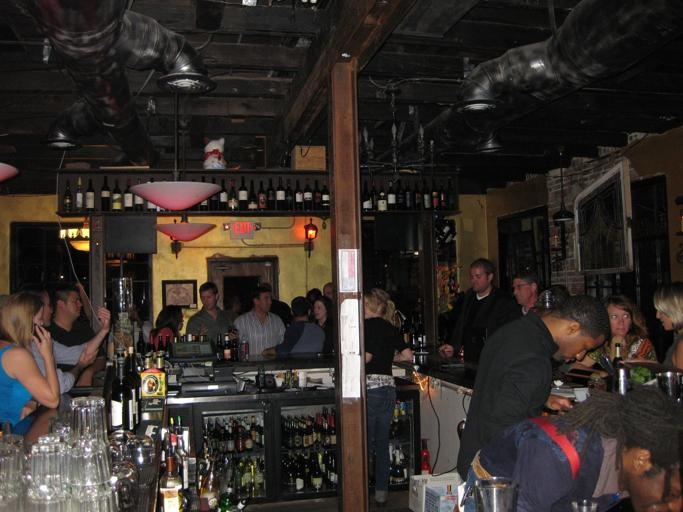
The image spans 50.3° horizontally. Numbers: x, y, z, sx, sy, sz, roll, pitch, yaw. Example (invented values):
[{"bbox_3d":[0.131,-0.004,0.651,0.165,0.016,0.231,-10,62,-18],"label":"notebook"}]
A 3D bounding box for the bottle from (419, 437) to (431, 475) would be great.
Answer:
[{"bbox_3d":[0.791,1.871,6.800,0.106,0.289,0.253,-2,-5,6],"label":"bottle"}]

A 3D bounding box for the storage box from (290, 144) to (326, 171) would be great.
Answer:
[{"bbox_3d":[-0.376,-1.168,8.691,0.361,0.236,0.367,0,-3,-6],"label":"storage box"}]

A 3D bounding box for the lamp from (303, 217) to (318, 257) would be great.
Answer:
[{"bbox_3d":[-0.452,-0.290,10.973,0.231,0.571,0.648,-1,-5,-2],"label":"lamp"}]

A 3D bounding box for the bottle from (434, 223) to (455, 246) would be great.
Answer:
[{"bbox_3d":[1.448,-0.316,10.158,0.312,0.149,0.411,-2,-10,-3],"label":"bottle"}]

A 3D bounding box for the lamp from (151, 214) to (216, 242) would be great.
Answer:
[{"bbox_3d":[-1.332,-0.216,6.211,0.404,0.294,0.415,0,-3,7],"label":"lamp"}]

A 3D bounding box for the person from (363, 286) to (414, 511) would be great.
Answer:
[{"bbox_3d":[0.433,1.227,6.385,0.410,1.893,0.838,-1,-5,3],"label":"person"}]

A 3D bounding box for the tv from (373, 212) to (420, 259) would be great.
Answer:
[{"bbox_3d":[0.643,-0.240,8.675,0.476,0.463,0.431,-1,1,-1],"label":"tv"}]

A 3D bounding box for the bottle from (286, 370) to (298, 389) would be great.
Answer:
[{"bbox_3d":[-0.459,1.128,6.686,0.092,0.137,0.045,-3,-21,2],"label":"bottle"}]

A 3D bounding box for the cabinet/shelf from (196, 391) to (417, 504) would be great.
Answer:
[{"bbox_3d":[-0.366,1.650,6.244,1.155,0.700,0.346,1,-9,-15],"label":"cabinet/shelf"}]
